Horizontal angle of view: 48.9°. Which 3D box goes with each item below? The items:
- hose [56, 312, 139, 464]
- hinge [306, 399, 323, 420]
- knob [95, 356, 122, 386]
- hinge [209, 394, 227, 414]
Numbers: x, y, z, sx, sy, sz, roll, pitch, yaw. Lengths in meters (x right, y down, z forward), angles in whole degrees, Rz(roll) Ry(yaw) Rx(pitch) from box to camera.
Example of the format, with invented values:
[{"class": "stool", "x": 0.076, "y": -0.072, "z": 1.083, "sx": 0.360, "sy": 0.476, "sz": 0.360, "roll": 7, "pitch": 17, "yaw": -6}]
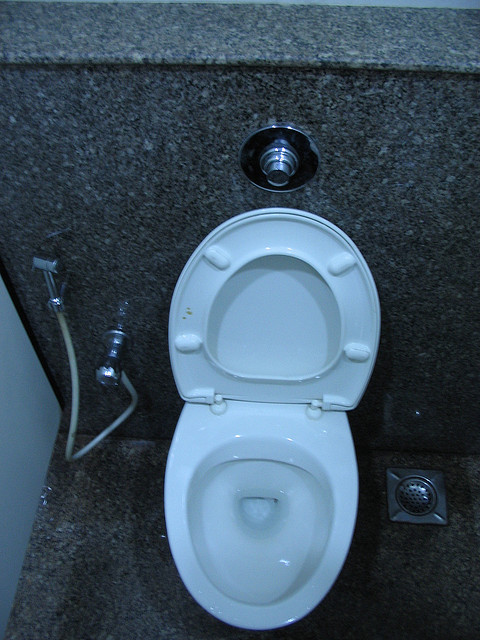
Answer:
[{"class": "hose", "x": -0.329, "y": 0.192, "z": 1.211, "sx": 0.157, "sy": 0.407, "sz": 0.139, "roll": 6, "pitch": 59, "yaw": -1}, {"class": "hinge", "x": 0.151, "y": 0.180, "z": 1.071, "sx": 0.033, "sy": 0.054, "sz": 0.029, "roll": 4, "pitch": 61, "yaw": 5}, {"class": "knob", "x": -0.283, "y": 0.108, "z": 1.137, "sx": 0.043, "sy": 0.043, "sz": 0.055, "roll": -3, "pitch": 65, "yaw": 1}, {"class": "hinge", "x": -0.044, "y": 0.173, "z": 1.076, "sx": 0.038, "sy": 0.049, "sz": 0.035, "roll": -1, "pitch": 60, "yaw": -1}]
